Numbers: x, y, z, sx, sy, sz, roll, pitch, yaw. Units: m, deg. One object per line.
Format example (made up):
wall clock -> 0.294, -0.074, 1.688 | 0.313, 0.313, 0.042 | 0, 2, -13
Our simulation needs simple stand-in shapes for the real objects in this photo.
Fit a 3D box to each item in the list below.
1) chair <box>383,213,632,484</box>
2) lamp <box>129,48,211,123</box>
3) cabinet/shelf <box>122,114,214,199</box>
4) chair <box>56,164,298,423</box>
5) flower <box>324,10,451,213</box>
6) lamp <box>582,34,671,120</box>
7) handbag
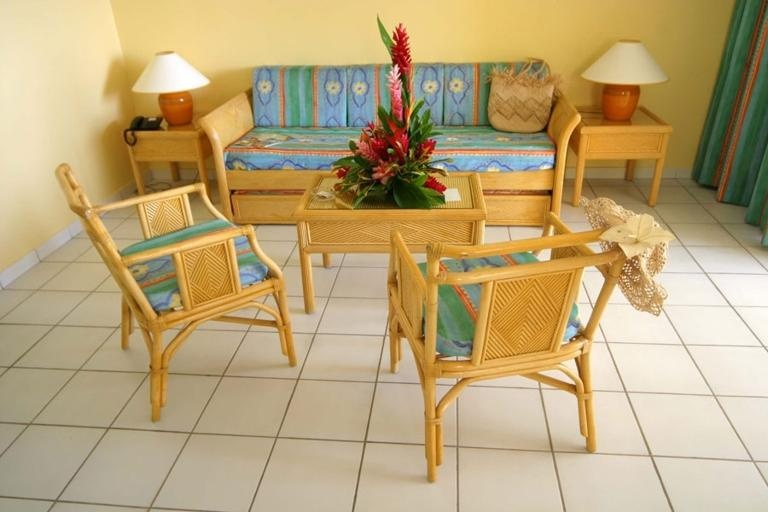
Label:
chair -> 0.534, 0.326, 2.653 | 1.235, 1.094, 1.157 | 5, 20, 21
lamp -> -1.872, -1.458, 4.589 | 0.732, 0.595, 0.655 | -1, 26, 5
cabinet/shelf -> -1.827, -0.872, 4.749 | 0.745, 0.624, 0.536 | 1, 29, 6
chair -> -1.110, 0.086, 3.006 | 1.146, 1.214, 0.881 | -5, 32, -20
flower -> 0.033, -0.864, 3.114 | 0.743, 0.980, 0.723 | 13, 34, 29
lamp -> 2.064, -1.512, 4.509 | 0.734, 0.625, 0.732 | 15, 32, 29
handbag -> 1.174, -1.301, 4.384 | 0.659, 0.551, 0.222 | 8, 19, 12
